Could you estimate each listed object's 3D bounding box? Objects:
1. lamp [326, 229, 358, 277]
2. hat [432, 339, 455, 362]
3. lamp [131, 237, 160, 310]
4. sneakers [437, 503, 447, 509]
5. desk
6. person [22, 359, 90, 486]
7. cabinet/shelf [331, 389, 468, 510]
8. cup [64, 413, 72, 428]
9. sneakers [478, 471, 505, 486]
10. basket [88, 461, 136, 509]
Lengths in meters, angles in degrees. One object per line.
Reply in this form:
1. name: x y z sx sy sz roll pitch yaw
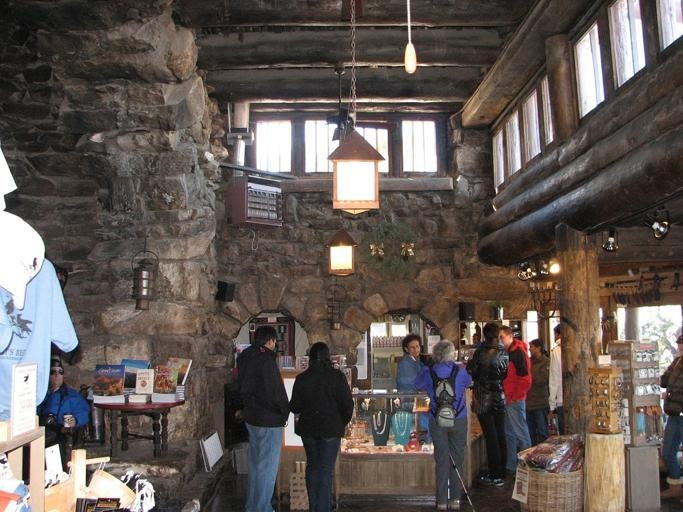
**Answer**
1. lamp: -0.004 -0.051 9.876 0.383 0.615 0.397 1 -9 0
2. hat: 1.094 1.016 7.601 0.185 0.241 0.247 7 10 38
3. lamp: -2.464 0.217 8.747 0.336 0.906 0.380 4 -9 -17
4. sneakers: 1.069 2.663 7.484 0.109 0.063 0.036 1 -9 -4
5. desk: -2.311 1.905 8.107 0.751 0.495 0.772 -2 -4 30
6. person: -3.017 1.660 7.655 0.515 1.123 2.232 4 -10 -19
7. cabinet/shelf: 0.636 2.114 7.706 1.238 1.107 0.501 0 -8 2
8. cup: -2.819 1.692 7.211 0.086 0.128 0.057 4 -10 -21
9. sneakers: 1.767 2.635 8.342 0.320 0.157 0.126 9 1 22
10. basket: -1.632 1.645 4.983 0.349 0.250 0.093 0 -9 4
